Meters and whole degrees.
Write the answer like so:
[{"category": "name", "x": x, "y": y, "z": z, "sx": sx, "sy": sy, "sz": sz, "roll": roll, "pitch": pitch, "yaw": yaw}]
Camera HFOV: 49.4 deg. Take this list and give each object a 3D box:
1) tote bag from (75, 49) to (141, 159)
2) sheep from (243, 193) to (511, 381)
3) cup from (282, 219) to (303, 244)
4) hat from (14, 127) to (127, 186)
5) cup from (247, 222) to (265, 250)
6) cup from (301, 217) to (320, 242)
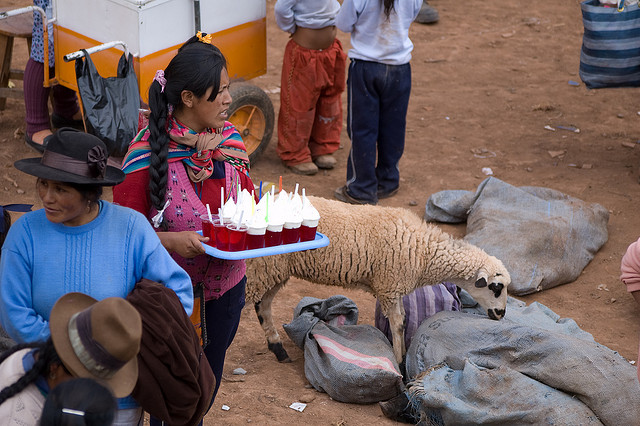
[{"category": "tote bag", "x": -2.541, "y": -1.327, "z": 8.484, "sx": 0.716, "sy": 1.316, "sz": 0.417, "roll": -12, "pitch": 20, "yaw": -32}, {"category": "sheep", "x": 0.520, "y": 0.852, "z": 7.124, "sx": 2.468, "sy": 1.233, "sz": 1.475, "roll": 7, "pitch": 18, "yaw": 19}, {"category": "cup", "x": -0.251, "y": 0.138, "z": 5.604, "sx": 0.179, "sy": 0.194, "sz": 0.174, "roll": 5, "pitch": 19, "yaw": -2}, {"category": "hat", "x": -1.768, "y": -0.436, "z": 4.985, "sx": 0.784, "sy": 0.310, "sz": 0.717, "roll": -4, "pitch": 21, "yaw": -36}, {"category": "cup", "x": -0.500, "y": 0.170, "z": 5.373, "sx": 0.139, "sy": 0.185, "sz": 0.140, "roll": 2, "pitch": 24, "yaw": -1}, {"category": "cup", "x": -0.087, "y": 0.124, "z": 5.669, "sx": 0.166, "sy": 0.166, "sz": 0.168, "roll": 2, "pitch": 14, "yaw": -1}]
